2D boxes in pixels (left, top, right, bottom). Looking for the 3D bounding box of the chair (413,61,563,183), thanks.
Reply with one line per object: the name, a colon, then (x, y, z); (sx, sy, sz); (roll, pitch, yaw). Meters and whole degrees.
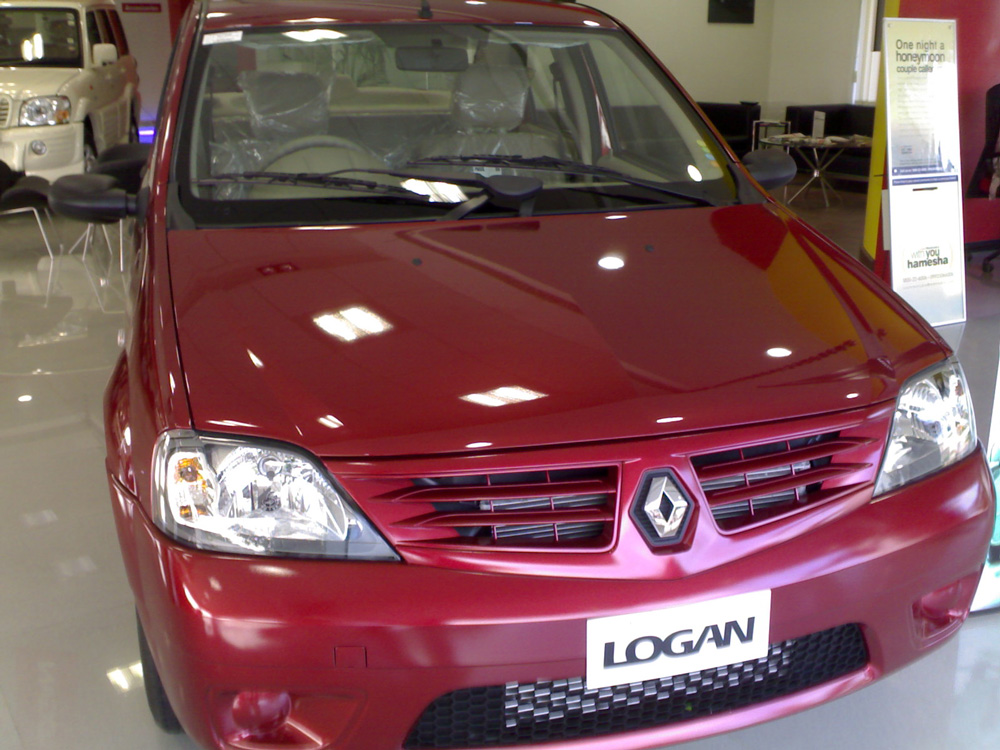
chair: (-0.014, -0.680, 1.919); (0.306, 0.131, 0.400); (6, 43, 1)
